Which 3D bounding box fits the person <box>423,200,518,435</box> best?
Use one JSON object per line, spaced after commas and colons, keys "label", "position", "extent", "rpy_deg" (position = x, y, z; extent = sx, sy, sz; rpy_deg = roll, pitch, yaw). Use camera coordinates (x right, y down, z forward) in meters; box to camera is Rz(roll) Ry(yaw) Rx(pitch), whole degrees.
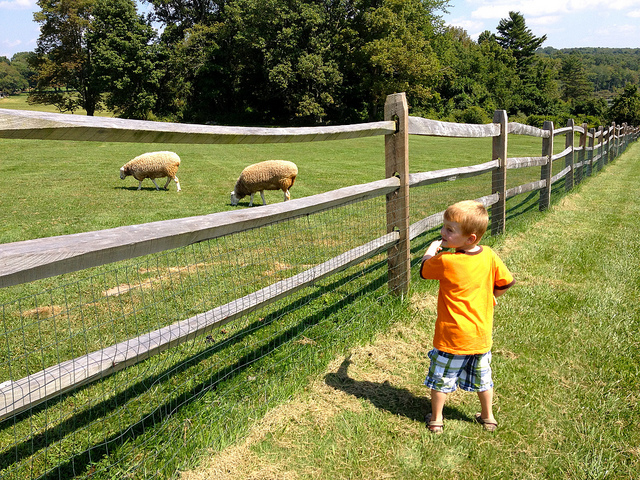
{"label": "person", "position": [1.170, 0.639, 4.702], "extent": [0.689, 1.794, 0.617], "rpy_deg": [2, 15, 11]}

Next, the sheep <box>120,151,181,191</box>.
{"label": "sheep", "position": [-4.537, -1.796, 15.381], "extent": [1.563, 1.152, 0.739], "rpy_deg": [-6, 17, -13]}

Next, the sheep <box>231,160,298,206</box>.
{"label": "sheep", "position": [-1.292, -1.205, 12.660], "extent": [1.505, 1.132, 0.678], "rpy_deg": [-2, 16, 8]}
